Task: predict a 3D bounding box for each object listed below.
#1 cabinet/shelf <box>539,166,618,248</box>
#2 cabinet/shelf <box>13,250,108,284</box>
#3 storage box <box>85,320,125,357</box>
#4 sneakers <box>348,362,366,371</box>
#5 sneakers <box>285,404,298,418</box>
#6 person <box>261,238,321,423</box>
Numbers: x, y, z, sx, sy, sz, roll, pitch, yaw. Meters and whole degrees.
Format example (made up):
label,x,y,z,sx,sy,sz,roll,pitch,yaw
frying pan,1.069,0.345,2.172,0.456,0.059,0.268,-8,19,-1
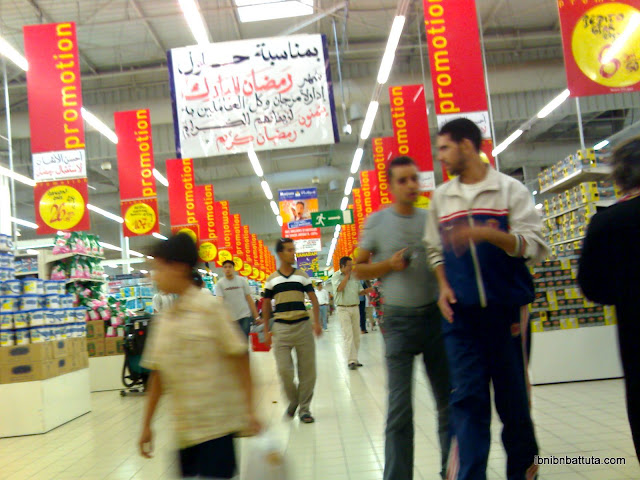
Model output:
label,x,y,z,sx,sy,sz,roll,pitch,yaw
cabinet/shelf,3.169,-0.474,6.333,0.471,1.234,1.319,1,1,-7
cabinet/shelf,-4.101,0.412,7.906,0.757,0.320,0.779,-3,-8,23
storage box,-3.530,1.646,8.508,0.650,0.405,0.646,0,-3,-2
sneakers,0.560,2.035,8.252,0.095,0.110,0.279,0,-8,-13
sneakers,-0.282,1.778,5.355,0.098,0.164,0.163,1,8,18
person,-0.288,0.925,5.469,0.595,1.924,0.716,-4,-7,-1
